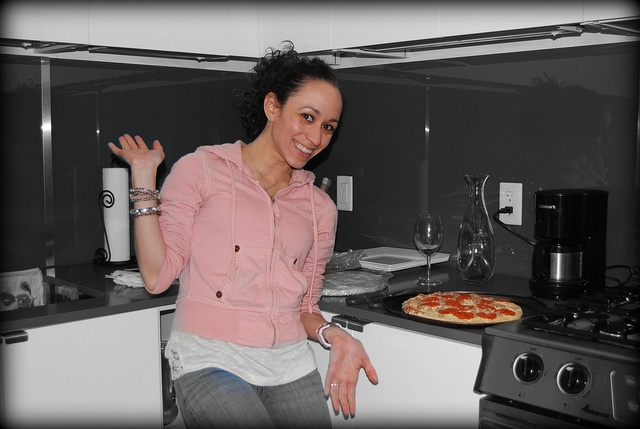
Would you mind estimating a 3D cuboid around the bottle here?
[{"bbox_3d":[0.679,0.062,2.101,0.153,0.460,0.113,-2,4,14],"label":"bottle"}]

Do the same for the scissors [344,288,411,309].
[{"bbox_3d":[0.232,0.326,1.868,0.087,0.018,0.194,4,3,44],"label":"scissors"}]

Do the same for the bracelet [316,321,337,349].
[{"bbox_3d":[0.018,0.426,1.678,0.066,0.081,0.033,-13,4,11],"label":"bracelet"}]

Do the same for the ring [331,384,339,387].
[{"bbox_3d":[0.050,0.577,1.625,0.014,0.006,0.017,0,3,-13],"label":"ring"}]

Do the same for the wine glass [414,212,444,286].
[{"bbox_3d":[0.481,0.149,2.127,0.115,0.297,0.282,-2,4,12],"label":"wine glass"}]

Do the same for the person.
[{"bbox_3d":[-0.229,0.058,1.562,0.741,1.258,0.429,-5,5,-35],"label":"person"}]

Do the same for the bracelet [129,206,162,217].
[{"bbox_3d":[-0.507,-0.007,1.388,0.086,0.027,0.047,-3,4,-7],"label":"bracelet"}]
